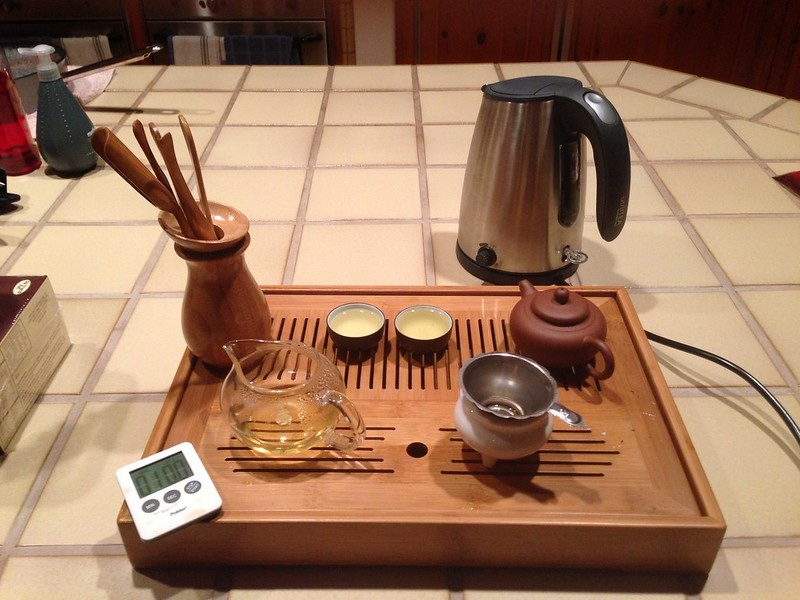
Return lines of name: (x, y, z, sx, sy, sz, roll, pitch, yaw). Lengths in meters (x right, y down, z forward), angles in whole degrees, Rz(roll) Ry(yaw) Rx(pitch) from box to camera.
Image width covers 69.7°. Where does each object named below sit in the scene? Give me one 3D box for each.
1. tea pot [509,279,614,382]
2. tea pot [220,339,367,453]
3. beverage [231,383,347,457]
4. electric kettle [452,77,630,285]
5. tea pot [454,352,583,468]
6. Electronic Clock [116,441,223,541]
tea pot: (0.217, 0.052, 0.788, 0.101, 0.081, 0.143, -15, 43, -17)
tea pot: (-0.135, 0.136, 0.705, 0.163, 0.090, 0.126, 26, 46, 17)
beverage: (-0.144, 0.143, 0.701, 0.157, 0.126, 0.076, -7, 80, 17)
electric kettle: (0.241, -0.190, 0.938, 0.230, 0.304, 0.296, -15, 30, -19)
tea pot: (0.114, 0.128, 0.684, 0.115, 0.093, 0.147, -30, 51, -31)
Electronic Clock: (-0.250, 0.205, 0.621, 0.082, 0.015, 0.101, -23, 42, -24)
